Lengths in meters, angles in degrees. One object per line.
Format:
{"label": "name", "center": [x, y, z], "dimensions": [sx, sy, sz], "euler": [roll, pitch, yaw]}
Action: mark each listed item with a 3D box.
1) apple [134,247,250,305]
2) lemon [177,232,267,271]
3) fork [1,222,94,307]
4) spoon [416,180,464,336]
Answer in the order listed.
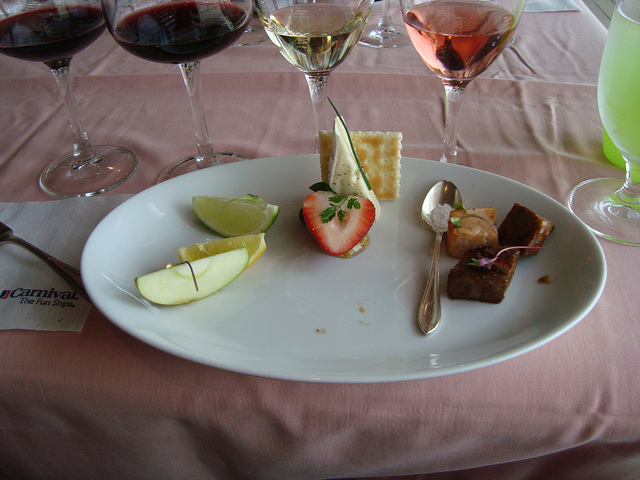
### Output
{"label": "apple", "center": [-0.228, 0.069, 0.864], "dimensions": [0.207, 0.075, 0.158], "euler": [-9, 25, -14]}
{"label": "lemon", "center": [-0.186, 0.028, 0.959], "dimensions": [0.177, 0.104, 0.063], "euler": [-11, 98, -1]}
{"label": "fork", "center": [-0.507, 0.051, 0.909], "dimensions": [0.239, 0.027, 0.035], "euler": [31, 77, 24]}
{"label": "spoon", "center": [0.219, 0.021, 0.925], "dimensions": [0.058, 0.029, 0.361], "euler": [8, 49, 13]}
